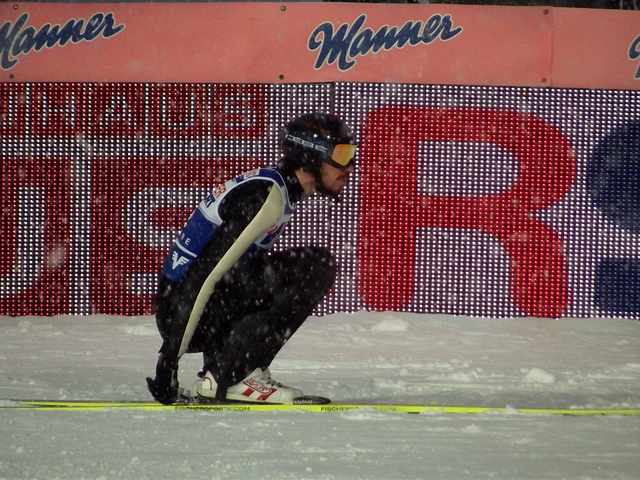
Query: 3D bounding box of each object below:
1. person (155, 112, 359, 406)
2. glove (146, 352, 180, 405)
[{"bbox_3d":[-0.472,0.072,5.361,1.375,2.083,1.085,1,2,-12],"label":"person"},{"bbox_3d":[-0.766,0.688,4.405,0.145,0.271,0.073,0,6,-3],"label":"glove"}]
